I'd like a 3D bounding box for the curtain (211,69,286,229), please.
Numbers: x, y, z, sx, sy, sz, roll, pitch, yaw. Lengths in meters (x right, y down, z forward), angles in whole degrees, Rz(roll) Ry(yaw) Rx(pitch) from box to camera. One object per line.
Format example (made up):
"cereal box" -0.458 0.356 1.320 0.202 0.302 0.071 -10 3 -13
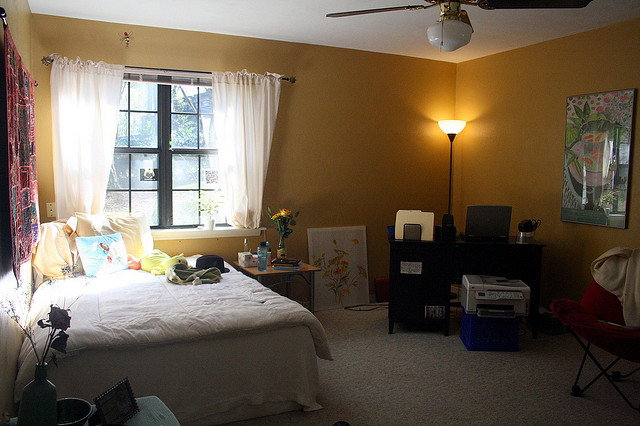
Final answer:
"curtain" -0.851 -0.755 5.440 0.757 1.855 0.384 -3 13 -13

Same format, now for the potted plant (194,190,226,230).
"potted plant" -1.290 -0.022 5.433 0.423 0.529 0.479 0 1 -16

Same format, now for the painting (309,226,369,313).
"painting" 0.201 0.733 5.834 1.115 1.358 0.061 -1 -2 -27

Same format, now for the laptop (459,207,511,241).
"laptop" 1.858 0.093 5.225 0.556 0.410 0.445 1 8 -1

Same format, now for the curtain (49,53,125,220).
"curtain" -2.448 -0.816 4.876 0.734 1.662 0.396 -5 14 -22

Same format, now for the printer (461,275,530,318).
"printer" 1.788 0.854 4.776 0.663 0.334 0.503 3 4 -9

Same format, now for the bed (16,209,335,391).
"bed" -1.563 0.501 4.198 2.044 0.740 2.284 -7 14 -29
